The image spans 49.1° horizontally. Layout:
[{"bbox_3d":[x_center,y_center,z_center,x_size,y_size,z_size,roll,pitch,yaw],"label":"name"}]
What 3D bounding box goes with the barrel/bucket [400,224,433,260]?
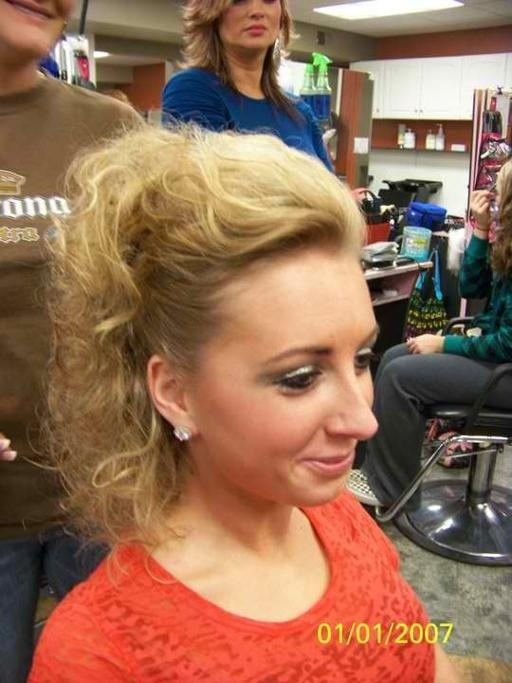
[{"bbox_3d":[0.901,-0.566,3.250,0.217,0.215,0.209,3,11,-1],"label":"barrel/bucket"}]
